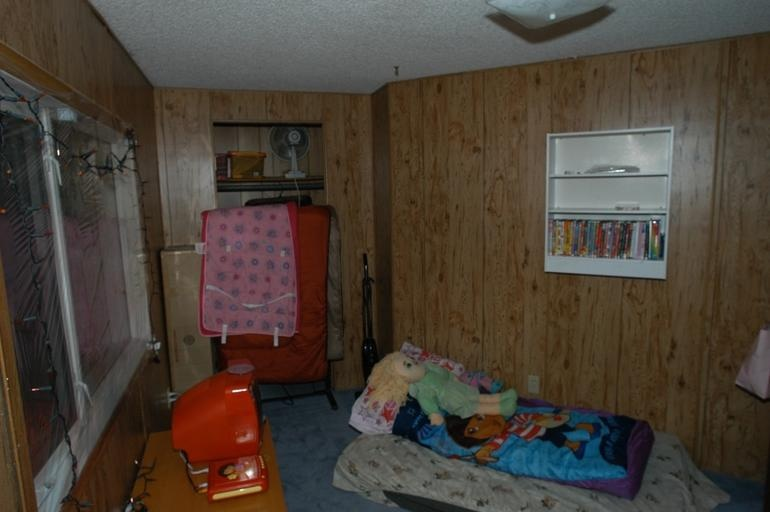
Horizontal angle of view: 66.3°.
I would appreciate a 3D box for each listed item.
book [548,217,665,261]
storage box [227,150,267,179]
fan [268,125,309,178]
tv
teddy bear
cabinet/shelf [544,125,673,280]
[{"bbox_3d":[1.605,-0.119,4.337,0.804,0.280,0.161,2,5,14],"label":"book"},{"bbox_3d":[-1.271,-0.814,5.504,0.244,0.293,0.406,2,2,37],"label":"storage box"},{"bbox_3d":[-0.902,-1.030,5.694,0.408,0.576,0.207,-3,4,-25],"label":"fan"},{"bbox_3d":[-0.877,0.825,3.260,0.463,0.461,0.457,-6,8,-13],"label":"tv"},{"bbox_3d":[0.389,1.005,4.293,0.963,0.297,0.497,10,36,19],"label":"teddy bear"},{"bbox_3d":[1.664,-0.392,4.310,1.151,1.453,0.416,1,-1,20],"label":"cabinet/shelf"}]
